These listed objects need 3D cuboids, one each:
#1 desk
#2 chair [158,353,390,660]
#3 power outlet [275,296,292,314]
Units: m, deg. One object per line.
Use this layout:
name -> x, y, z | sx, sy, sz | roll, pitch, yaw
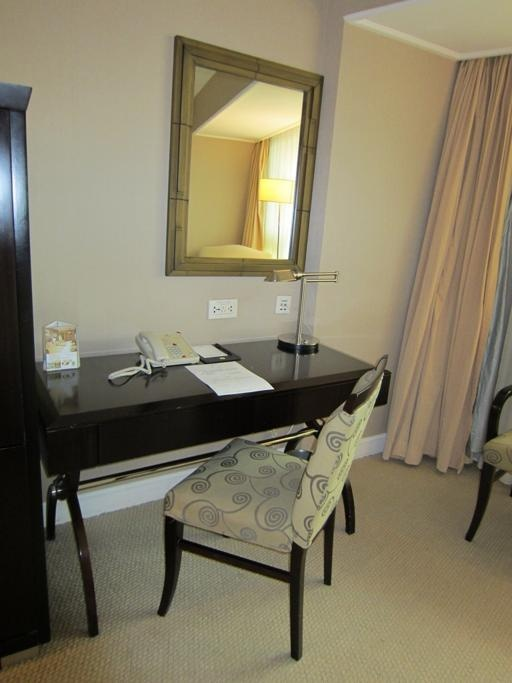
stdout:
desk -> -0.152, 0.406, 1.812 | 1.202, 0.716, 0.512 | -5, 18, -32
chair -> 0.040, 0.462, 1.523 | 0.510, 0.819, 0.484 | 8, 18, 15
power outlet -> 0.121, -0.173, 2.231 | 0.067, 0.083, 0.010 | -8, 21, -38
